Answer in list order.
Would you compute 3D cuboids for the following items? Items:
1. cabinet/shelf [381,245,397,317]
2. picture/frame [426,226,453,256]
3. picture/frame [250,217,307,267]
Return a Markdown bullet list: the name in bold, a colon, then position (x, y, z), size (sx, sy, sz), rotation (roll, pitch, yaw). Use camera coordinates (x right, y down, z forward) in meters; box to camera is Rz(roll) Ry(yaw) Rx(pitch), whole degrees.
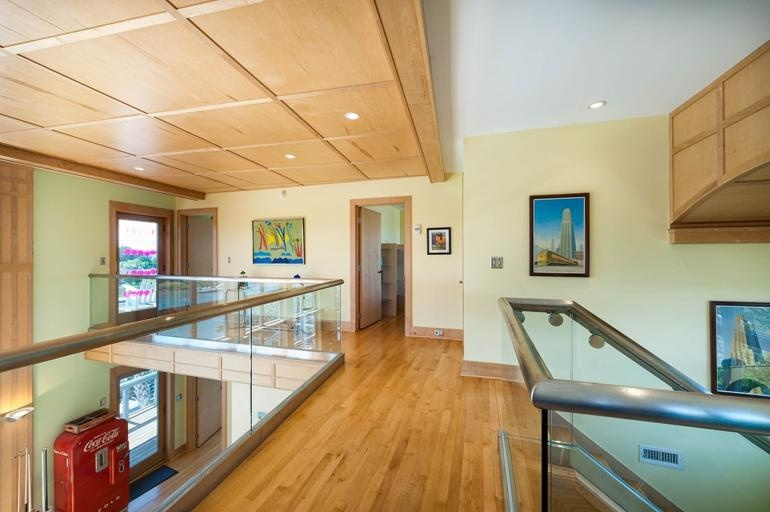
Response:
- **cabinet/shelf**: position (0.092, 0.438, 8.929), size (0.286, 1.193, 0.643), rotation (-1, 0, 2)
- **picture/frame**: position (0.810, -0.215, 6.928), size (0.475, 0.453, 0.024), rotation (1, -2, 20)
- **picture/frame**: position (-1.667, -0.228, 7.749), size (0.893, 0.633, 0.041), rotation (0, -2, 17)
